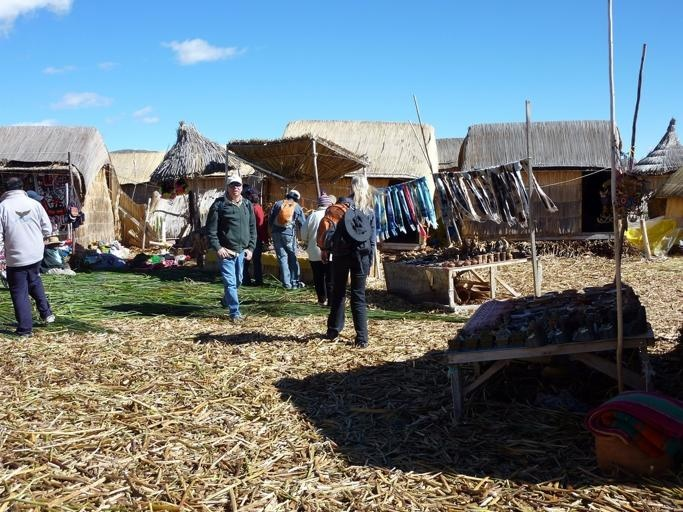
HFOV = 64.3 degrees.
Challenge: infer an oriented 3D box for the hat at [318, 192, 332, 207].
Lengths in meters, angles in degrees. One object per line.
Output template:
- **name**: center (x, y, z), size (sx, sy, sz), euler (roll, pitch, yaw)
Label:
- **hat**: center (-0.238, -0.854, 8.184), size (0.170, 0.131, 0.218), euler (0, 2, -5)

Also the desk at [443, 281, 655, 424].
- **desk**: center (1.911, 0.790, 4.958), size (1.574, 1.018, 1.732), euler (5, 11, 20)

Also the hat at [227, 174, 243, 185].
- **hat**: center (-1.552, -1.086, 7.801), size (0.210, 0.091, 0.274), euler (0, 2, -12)

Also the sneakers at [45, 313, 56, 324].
- **sneakers**: center (-3.831, 0.825, 7.140), size (0.125, 0.096, 0.093), euler (17, -13, -11)

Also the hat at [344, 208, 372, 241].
- **hat**: center (0.201, -0.362, 6.255), size (0.383, 0.384, 0.246), euler (-2, 11, -17)

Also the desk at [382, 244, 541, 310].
- **desk**: center (1.961, 0.307, 9.979), size (1.645, 0.489, 1.635), euler (4, 15, 42)

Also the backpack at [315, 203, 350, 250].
- **backpack**: center (-0.107, -0.361, 6.370), size (0.353, 0.552, 0.245), euler (2, 11, 3)
